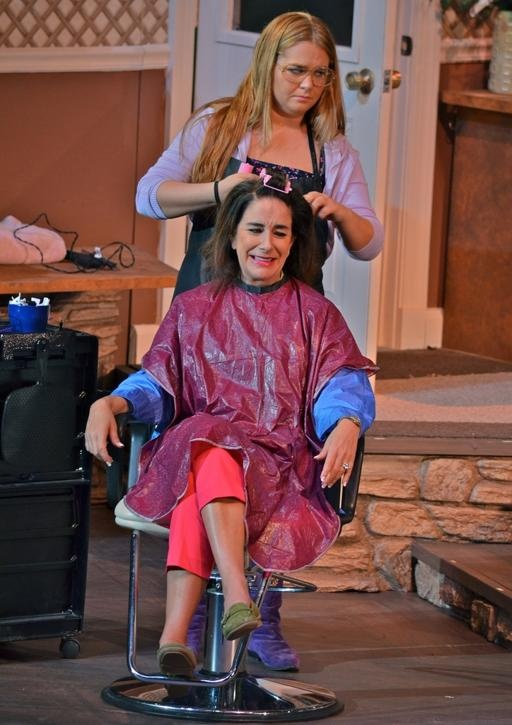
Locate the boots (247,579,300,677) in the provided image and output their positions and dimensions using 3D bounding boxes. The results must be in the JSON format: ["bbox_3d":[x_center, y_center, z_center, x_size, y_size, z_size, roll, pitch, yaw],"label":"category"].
[{"bbox_3d":[0.046,0.608,1.633,0.084,0.158,0.218,8,-13,-22],"label":"boots"}]

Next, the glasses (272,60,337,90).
[{"bbox_3d":[0.112,-0.588,1.458,0.127,0.037,0.045,5,-2,-32],"label":"glasses"}]

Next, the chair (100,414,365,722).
[{"bbox_3d":[-0.061,0.389,1.298,0.467,0.458,0.338,4,-2,6],"label":"chair"}]

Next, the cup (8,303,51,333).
[{"bbox_3d":[-0.478,-0.096,1.514,0.081,0.047,0.068,2,3,3],"label":"cup"}]

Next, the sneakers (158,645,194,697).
[{"bbox_3d":[-0.121,0.480,1.141,0.065,0.157,0.069,2,46,-3],"label":"sneakers"}]

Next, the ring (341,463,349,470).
[{"bbox_3d":[0.154,0.179,1.227,0.010,0.012,0.004,1,0,-10],"label":"ring"}]

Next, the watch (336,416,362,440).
[{"bbox_3d":[0.168,0.109,1.261,0.062,0.028,0.024,5,-2,-32],"label":"watch"}]
